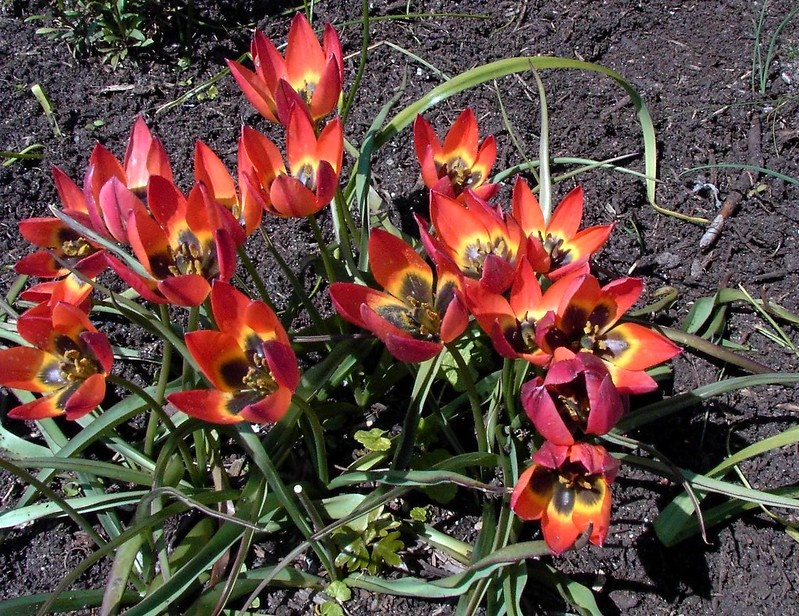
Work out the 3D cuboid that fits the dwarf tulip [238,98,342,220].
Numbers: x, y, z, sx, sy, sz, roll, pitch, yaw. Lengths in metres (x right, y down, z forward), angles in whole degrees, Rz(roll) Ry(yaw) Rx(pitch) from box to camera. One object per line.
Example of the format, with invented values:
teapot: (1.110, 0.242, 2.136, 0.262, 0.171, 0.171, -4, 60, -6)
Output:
dwarf tulip: (-0.305, -0.427, 2.096, 0.290, 0.299, 0.375, 6, 10, 45)
